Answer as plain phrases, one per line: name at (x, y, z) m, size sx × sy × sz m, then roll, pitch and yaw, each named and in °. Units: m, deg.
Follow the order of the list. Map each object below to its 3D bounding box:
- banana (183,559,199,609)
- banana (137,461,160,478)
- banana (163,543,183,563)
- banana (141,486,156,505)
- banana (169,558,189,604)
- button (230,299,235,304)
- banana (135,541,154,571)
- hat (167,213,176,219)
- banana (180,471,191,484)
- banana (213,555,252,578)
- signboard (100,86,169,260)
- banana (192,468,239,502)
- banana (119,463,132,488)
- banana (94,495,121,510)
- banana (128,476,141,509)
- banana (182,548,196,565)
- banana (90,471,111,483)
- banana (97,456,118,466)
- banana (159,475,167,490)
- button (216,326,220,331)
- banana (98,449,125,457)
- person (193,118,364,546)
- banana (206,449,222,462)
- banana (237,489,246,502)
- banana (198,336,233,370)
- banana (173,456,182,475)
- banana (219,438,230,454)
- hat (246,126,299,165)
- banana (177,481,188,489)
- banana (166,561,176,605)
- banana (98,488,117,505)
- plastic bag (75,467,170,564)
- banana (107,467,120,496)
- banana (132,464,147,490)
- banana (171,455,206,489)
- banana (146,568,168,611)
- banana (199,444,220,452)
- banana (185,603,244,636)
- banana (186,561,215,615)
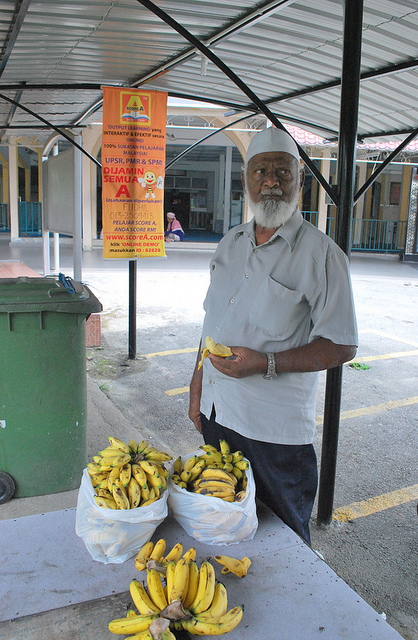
banana at (-0.041, 0.667, 1.196) m, size 0.023 × 0.084 × 0.028 m, roll -3°, pitch -26°, yaw 24°
banana at (-0.187, 0.469, 1.540) m, size 0.088 × 0.027 × 0.026 m, roll 23°, pitch 50°, yaw 18°
banana at (-0.098, 0.650, 1.338) m, size 0.044 × 0.066 × 0.021 m, roll 26°, pitch -29°, yaw -28°
banana at (-0.187, 0.541, 1.474) m, size 0.021 × 0.031 × 0.090 m, roll 17°, pitch 22°, yaw 0°
banana at (-0.072, 0.633, 1.159) m, size 0.026 × 0.030 × 0.090 m, roll -7°, pitch 10°, yaw 4°
button at (0.102, -0.078, 2.072) m, size 0.026 × 0.021 × 0.005 m, roll 13°, pitch 17°, yaw 42°
banana at (-0.175, 0.661, 1.356) m, size 0.039 × 0.025 × 0.078 m, roll -2°, pitch 30°, yaw 26°
hat at (-1.746, -4.904, 22.855) m, size 0.387 × 0.188 × 0.533 m, roll 26°, pitch 6°, yaw 8°
banana at (-0.077, 0.536, 1.645) m, size 0.024 × 0.044 × 0.022 m, roll 24°, pitch 3°, yaw 29°
banana at (0.076, 0.683, 1.360) m, size 0.053 × 0.024 × 0.067 m, roll -18°, pitch 27°, yaw -41°
signboard at (-0.870, -1.720, 5.753) m, size 0.793 × 2.014 × 0.346 m, roll -2°, pitch 13°, yaw -16°
banana at (0.018, 0.538, 1.580) m, size 0.070 × 0.043 × 0.124 m, roll -23°, pitch 12°, yaw -28°
banana at (-0.258, 0.482, 1.502) m, size 0.023 × 0.020 × 0.070 m, roll -29°, pitch 24°, yaw 1°
banana at (-0.298, 0.538, 1.428) m, size 0.084 × 0.027 × 0.028 m, roll 15°, pitch 26°, yaw 33°
banana at (-0.224, 0.528, 1.454) m, size 0.026 × 0.025 × 0.079 m, roll -13°, pitch 41°, yaw -5°
banana at (-0.053, 0.642, 1.293) m, size 0.015 × 0.021 × 0.043 m, roll 6°, pitch -19°, yaw -26°
banana at (-0.346, 0.509, 1.541) m, size 0.056 × 0.018 × 0.031 m, roll -14°, pitch 41°, yaw 2°
banana at (-0.322, 0.446, 1.523) m, size 0.052 × 0.018 × 0.043 m, roll 3°, pitch 12°, yaw 4°
banana at (-0.142, 0.517, 1.533) m, size 0.014 × 0.050 × 0.016 m, roll -17°, pitch -2°, yaw 7°
button at (0.041, 0.039, 2.120) m, size 0.004 × 0.020 × 0.033 m, roll -4°, pitch 14°, yaw -24°
banana at (-0.312, 0.438, 1.582) m, size 0.098 × 0.028 × 0.026 m, roll 1°, pitch 28°, yaw -23°
person at (0.198, 0.077, 2.110) m, size 0.606 × 1.770 × 0.704 m, roll -4°, pitch 14°, yaw -25°
banana at (0.025, 0.499, 1.755) m, size 0.030 × 0.014 × 0.038 m, roll 2°, pitch 7°, yaw -31°
banana at (0.106, 0.560, 1.538) m, size 0.007 × 0.022 × 0.020 m, roll 33°, pitch 5°, yaw -27°
banana at (0.030, 0.117, 1.852) m, size 0.108 × 0.116 × 0.185 m, roll 1°, pitch 12°, yaw -2°
banana at (-0.110, 0.522, 1.720) m, size 0.025 × 0.070 × 0.019 m, roll -5°, pitch -21°, yaw 20°
banana at (0.064, 0.490, 1.849) m, size 0.022 × 0.028 × 0.080 m, roll 13°, pitch 34°, yaw -28°
hat at (0.261, -0.729, 2.052) m, size 0.159 × 0.111 × 0.160 m, roll 2°, pitch 13°, yaw 13°
banana at (-0.086, 0.552, 1.604) m, size 0.018 × 0.018 × 0.024 m, roll -11°, pitch -19°, yaw 36°
banana at (-0.091, 0.641, 1.184) m, size 0.018 × 0.066 × 0.021 m, roll -4°, pitch -28°, yaw 5°
banana at (-0.306, 0.539, 1.461) m, size 0.038 × 0.010 × 0.028 m, roll 40°, pitch -10°, yaw 11°
plastic bag at (-0.272, 0.618, 1.492) m, size 0.194 × 0.158 × 0.228 m, roll 12°, pitch 20°, yaw 11°
banana at (-0.288, 0.495, 1.476) m, size 0.025 × 0.021 × 0.077 m, roll 35°, pitch 28°, yaw -23°
banana at (-0.221, 0.493, 1.501) m, size 0.026 × 0.023 × 0.079 m, roll 27°, pitch 4°, yaw -32°
banana at (-0.077, 0.517, 1.636) m, size 0.051 × 0.066 × 0.183 m, roll 41°, pitch -7°, yaw 7°
banana at (-0.128, 0.656, 1.172) m, size 0.024 × 0.029 × 0.088 m, roll -26°, pitch 39°, yaw -11°
banana at (-0.002, 0.497, 1.850) m, size 0.028 × 0.034 × 0.101 m, roll -20°, pitch 2°, yaw -33°
banana at (0.010, 0.688, 1.100) m, size 0.148 × 0.037 × 0.056 m, roll -8°, pitch 32°, yaw -9°
banana at (-0.018, 0.648, 1.155) m, size 0.032 × 0.037 × 0.117 m, roll 26°, pitch 45°, yaw -13°
